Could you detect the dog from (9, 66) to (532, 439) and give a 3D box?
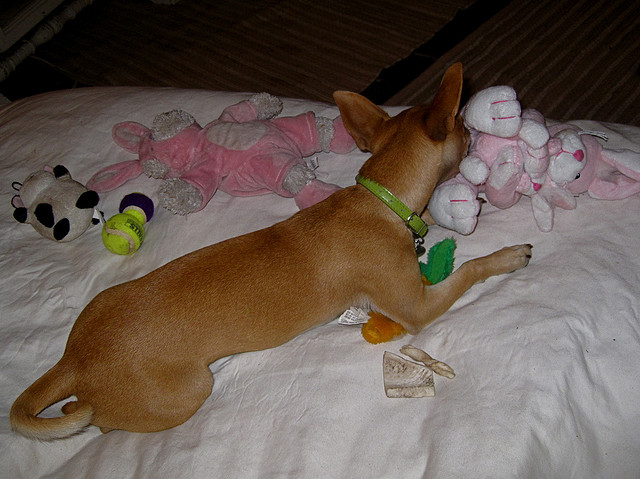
[{"bbox_3d":[-0.273,0.132,3.096,0.696,2.212,1.298,-120,-173,-49],"label":"dog"}]

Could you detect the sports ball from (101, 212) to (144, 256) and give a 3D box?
[{"bbox_3d":[-1.181,-0.025,3.434,0.202,0.211,0.208,29,20,-11],"label":"sports ball"}]

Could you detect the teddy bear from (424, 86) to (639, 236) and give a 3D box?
[{"bbox_3d":[1.019,-0.363,3.044,0.990,0.672,0.386,8,-1,13],"label":"teddy bear"}]

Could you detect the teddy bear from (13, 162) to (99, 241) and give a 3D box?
[{"bbox_3d":[-1.579,-0.230,3.580,0.508,0.512,0.259,-23,64,-40],"label":"teddy bear"}]
